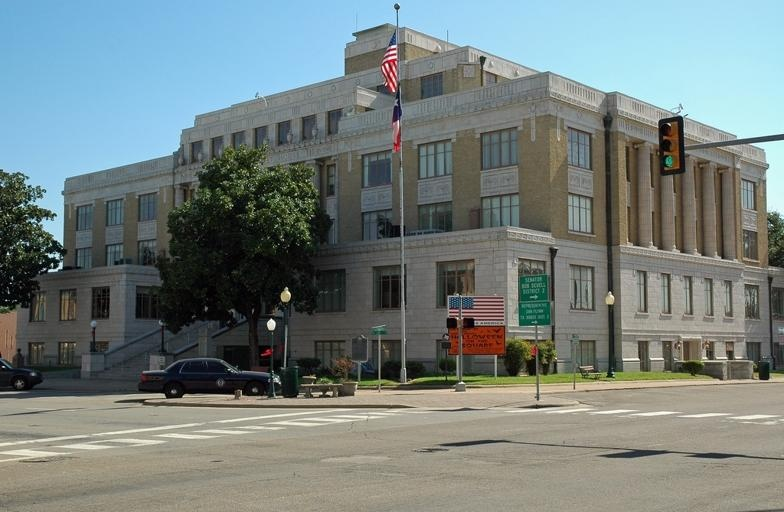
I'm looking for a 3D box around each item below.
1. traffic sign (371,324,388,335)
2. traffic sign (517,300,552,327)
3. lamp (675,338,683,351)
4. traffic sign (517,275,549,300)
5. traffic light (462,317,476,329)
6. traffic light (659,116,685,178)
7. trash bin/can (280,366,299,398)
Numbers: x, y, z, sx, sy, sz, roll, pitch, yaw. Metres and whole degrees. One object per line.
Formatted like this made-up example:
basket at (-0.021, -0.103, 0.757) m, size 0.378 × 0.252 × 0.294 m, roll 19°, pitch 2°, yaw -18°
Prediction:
traffic sign at (-0.643, 4.090, 56.998) m, size 0.871 × 0.495 × 0.837 m, roll 0°, pitch -7°, yaw -1°
traffic sign at (7.381, 2.974, 54.485) m, size 1.475 × 0.970 × 0.146 m, roll -5°, pitch -9°, yaw 39°
lamp at (21.115, 6.594, 77.882) m, size 0.567 × 0.920 × 0.591 m, roll 9°, pitch -25°, yaw 7°
traffic sign at (7.380, 1.696, 54.826) m, size 0.181 × 1.063 × 1.368 m, roll 2°, pitch -5°, yaw -42°
traffic light at (4.116, 3.718, 56.852) m, size 0.544 × 0.644 × 0.960 m, roll 0°, pitch -3°, yaw 5°
traffic light at (10.852, -4.336, 41.032) m, size 0.879 × 2.426 × 0.979 m, roll -2°, pitch -13°, yaw 10°
trash bin/can at (-5.375, 6.640, 55.232) m, size 0.827 × 1.601 × 0.632 m, roll 1°, pitch -13°, yaw -6°
